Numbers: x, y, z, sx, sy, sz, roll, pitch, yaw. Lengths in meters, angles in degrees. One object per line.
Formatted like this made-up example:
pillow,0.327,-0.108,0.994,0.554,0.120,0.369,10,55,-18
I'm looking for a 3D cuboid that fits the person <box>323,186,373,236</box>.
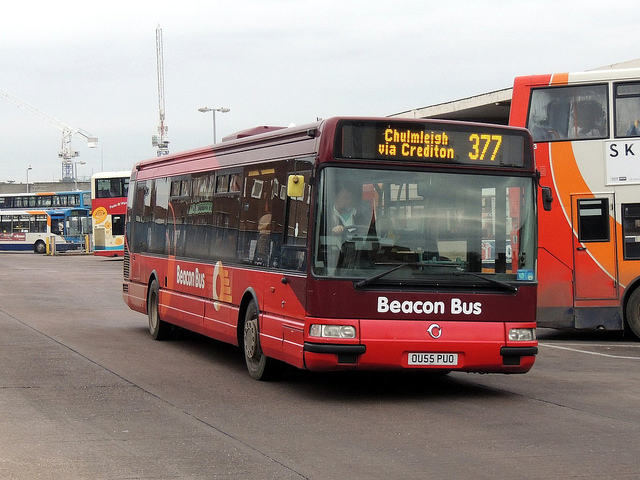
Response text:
person,0.342,-0.301,8.575,0.884,0.669,0.408,0,-6,-19
